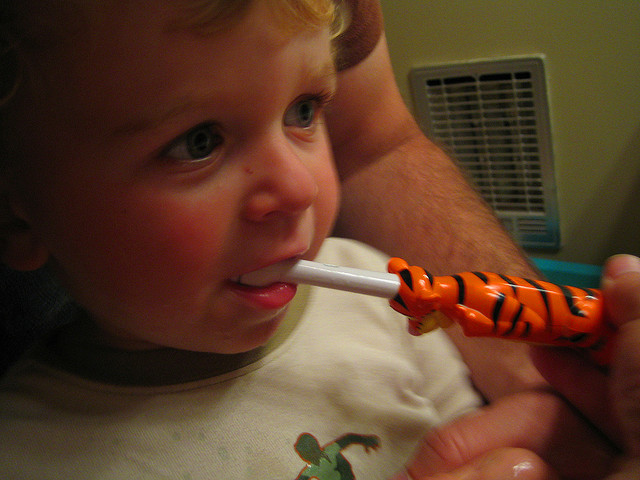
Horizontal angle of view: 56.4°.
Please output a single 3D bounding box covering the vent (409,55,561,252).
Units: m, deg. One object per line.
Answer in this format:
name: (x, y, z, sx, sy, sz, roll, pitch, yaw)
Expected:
vent: (0.174, -0.082, 0.605, 0.158, 0.193, 0.047, -4, 38, 15)
